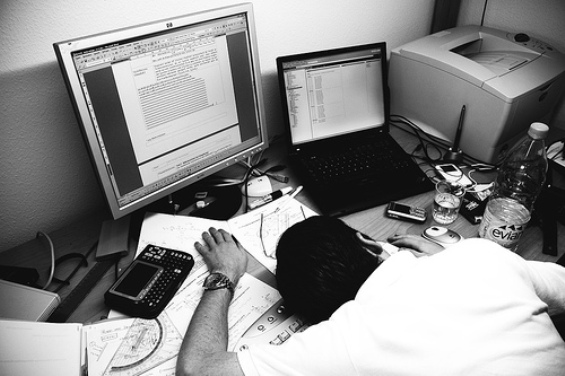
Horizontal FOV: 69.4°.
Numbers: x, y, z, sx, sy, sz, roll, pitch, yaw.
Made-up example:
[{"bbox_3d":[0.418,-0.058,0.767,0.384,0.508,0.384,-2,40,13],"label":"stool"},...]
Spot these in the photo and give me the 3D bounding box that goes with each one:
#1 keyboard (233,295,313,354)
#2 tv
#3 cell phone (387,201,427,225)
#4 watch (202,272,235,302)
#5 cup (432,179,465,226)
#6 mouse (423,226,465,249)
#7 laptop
[{"bbox_3d":[-0.024,0.393,1.159,0.202,0.029,0.097,-38,63,-23],"label":"keyboard"},{"bbox_3d":[-0.418,-0.254,1.322,0.709,0.570,0.069,-24,33,-20],"label":"tv"},{"bbox_3d":[0.445,0.084,1.458,0.115,0.029,0.067,13,43,11],"label":"cell phone"},{"bbox_3d":[-0.191,0.301,1.289,0.097,0.090,0.060,8,55,33],"label":"watch"},{"bbox_3d":[0.579,0.052,1.496,0.118,0.155,0.127,-2,34,2],"label":"cup"},{"bbox_3d":[0.547,0.159,1.368,0.080,0.030,0.099,-26,48,-33],"label":"mouse"},{"bbox_3d":[0.290,-0.240,1.515,0.557,0.404,0.494,-10,45,-16],"label":"laptop"}]
